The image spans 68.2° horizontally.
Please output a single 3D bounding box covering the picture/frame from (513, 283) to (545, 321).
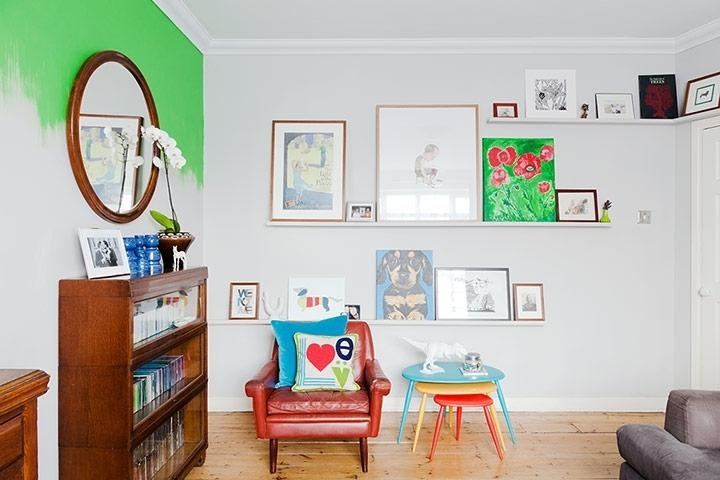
[{"bbox_3d":[1.632,0.616,5.206,0.343,0.418,0.031,0,-9,-5],"label":"picture/frame"}]

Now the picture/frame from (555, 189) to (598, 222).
[{"bbox_3d":[2.108,-0.334,5.234,0.301,0.259,0.025,-1,-8,-4],"label":"picture/frame"}]

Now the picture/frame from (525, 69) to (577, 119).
[{"bbox_3d":[1.858,-1.430,5.243,0.503,0.512,0.036,0,-5,-5],"label":"picture/frame"}]

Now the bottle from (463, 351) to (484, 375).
[{"bbox_3d":[0.999,1.084,4.719,0.179,0.159,0.193,0,3,11],"label":"bottle"}]

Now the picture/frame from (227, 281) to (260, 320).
[{"bbox_3d":[-1.140,0.603,5.230,0.357,0.423,0.028,0,-3,1],"label":"picture/frame"}]

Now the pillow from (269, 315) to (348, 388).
[{"bbox_3d":[-0.437,0.981,4.580,0.538,0.473,0.202,-1,-17,2],"label":"pillow"}]

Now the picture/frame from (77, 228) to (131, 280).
[{"bbox_3d":[-1.835,0.106,3.780,0.027,0.364,0.368,-20,-11,27],"label":"picture/frame"}]

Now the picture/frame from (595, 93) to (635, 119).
[{"bbox_3d":[2.495,-1.326,5.249,0.257,0.194,0.013,1,-7,-2],"label":"picture/frame"}]

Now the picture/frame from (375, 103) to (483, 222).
[{"bbox_3d":[0.660,-0.758,5.230,1.126,1.234,0.027,0,0,1],"label":"picture/frame"}]

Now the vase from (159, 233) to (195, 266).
[{"bbox_3d":[-1.451,0.079,4.228,0.242,0.201,0.237,3,-5,-43],"label":"vase"}]

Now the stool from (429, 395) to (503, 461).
[{"bbox_3d":[0.902,1.560,4.561,0.548,0.411,0.537,0,-10,5],"label":"stool"}]

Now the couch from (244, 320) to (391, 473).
[{"bbox_3d":[-0.375,1.370,4.464,1.128,0.993,0.625,-1,4,-12],"label":"couch"}]

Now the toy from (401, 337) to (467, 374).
[{"bbox_3d":[0.674,1.058,4.889,0.672,0.296,0.276,2,-12,4],"label":"toy"}]

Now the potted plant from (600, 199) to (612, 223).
[{"bbox_3d":[2.397,-0.278,5.214,0.094,0.227,0.154,1,4,27],"label":"potted plant"}]

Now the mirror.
[{"bbox_3d":[-1.864,-0.781,4.048,0.098,1.269,0.783,1,4,20],"label":"mirror"}]
